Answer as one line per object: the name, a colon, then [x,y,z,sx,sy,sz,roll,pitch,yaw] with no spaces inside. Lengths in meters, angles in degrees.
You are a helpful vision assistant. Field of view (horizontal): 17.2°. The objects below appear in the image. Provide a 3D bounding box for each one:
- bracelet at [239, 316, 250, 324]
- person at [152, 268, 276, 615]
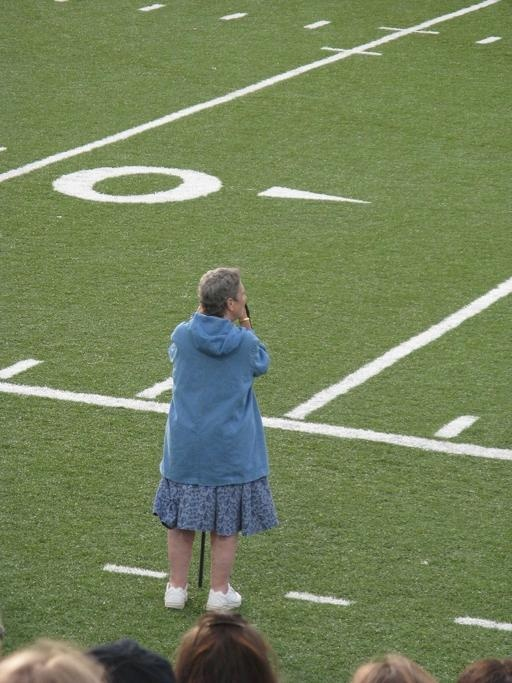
bracelet: [-0.073,-0.112,9.047,0.031,0.039,0.021,-5,45,-4]
person: [-0.233,0.529,8.956,0.641,1.796,0.447,-1,16,-4]
